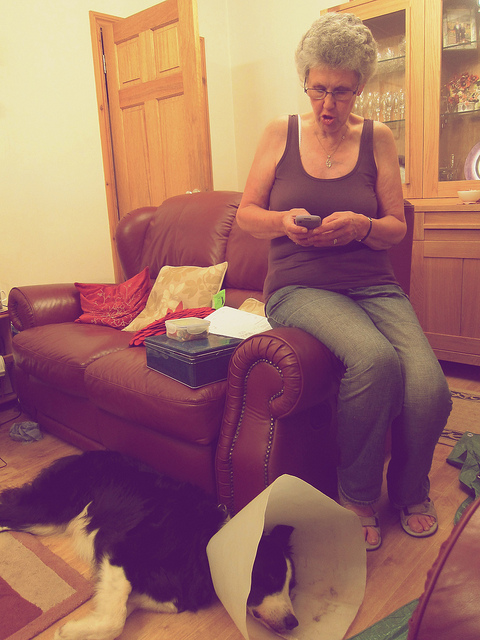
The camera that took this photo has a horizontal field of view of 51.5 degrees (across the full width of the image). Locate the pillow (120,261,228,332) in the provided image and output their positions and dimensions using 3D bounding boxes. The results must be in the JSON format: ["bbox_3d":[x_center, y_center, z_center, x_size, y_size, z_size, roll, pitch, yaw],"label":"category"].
[{"bbox_3d":[-0.238,-0.114,1.991,0.319,0.098,0.331,-7,54,41],"label":"pillow"}]

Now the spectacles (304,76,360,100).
[{"bbox_3d":[0.238,-0.603,1.294,0.144,0.067,0.080,-1,20,12],"label":"spectacles"}]

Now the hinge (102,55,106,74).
[{"bbox_3d":[-0.926,-1.736,3.385,0.009,0.114,0.059,-14,21,-24],"label":"hinge"}]
